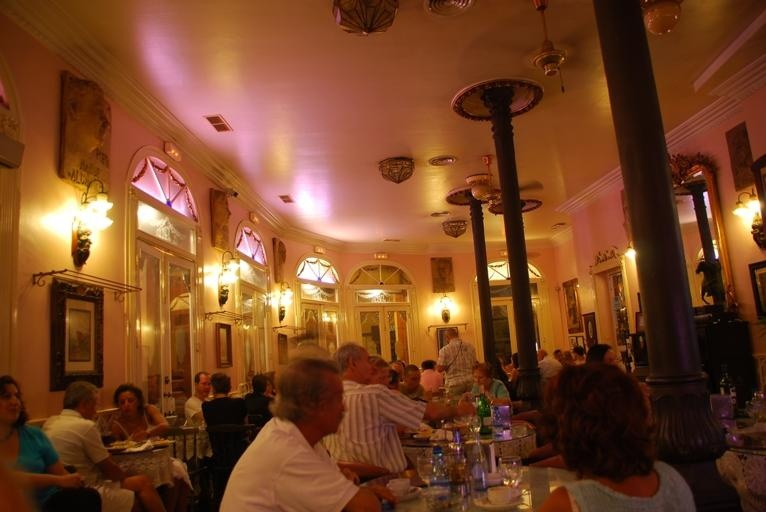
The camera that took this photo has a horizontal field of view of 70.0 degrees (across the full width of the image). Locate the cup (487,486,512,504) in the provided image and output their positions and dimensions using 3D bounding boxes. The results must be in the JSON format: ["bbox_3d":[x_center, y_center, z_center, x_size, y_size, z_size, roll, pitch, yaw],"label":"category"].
[{"bbox_3d":[0.707,1.435,3.272,0.099,0.075,0.106,-6,-25,-3],"label":"cup"}]

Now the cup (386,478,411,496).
[{"bbox_3d":[0.107,1.489,3.519,0.082,0.066,0.098,3,-12,-25],"label":"cup"}]

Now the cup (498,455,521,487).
[{"bbox_3d":[0.806,1.357,3.430,0.131,0.171,0.118,-11,-17,24],"label":"cup"}]

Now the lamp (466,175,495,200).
[{"bbox_3d":[2.001,-1.372,10.984,0.568,0.430,0.561,-4,3,-33],"label":"lamp"}]

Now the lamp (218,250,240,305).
[{"bbox_3d":[-3.009,0.440,10.662,0.235,1.232,0.629,-4,-16,1],"label":"lamp"}]

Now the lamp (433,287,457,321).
[{"bbox_3d":[1.944,1.577,17.366,0.742,1.271,0.734,4,-27,-6],"label":"lamp"}]

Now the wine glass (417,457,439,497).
[{"bbox_3d":[0.276,1.415,3.560,0.080,0.196,0.264,-2,-16,-6],"label":"wine glass"}]
